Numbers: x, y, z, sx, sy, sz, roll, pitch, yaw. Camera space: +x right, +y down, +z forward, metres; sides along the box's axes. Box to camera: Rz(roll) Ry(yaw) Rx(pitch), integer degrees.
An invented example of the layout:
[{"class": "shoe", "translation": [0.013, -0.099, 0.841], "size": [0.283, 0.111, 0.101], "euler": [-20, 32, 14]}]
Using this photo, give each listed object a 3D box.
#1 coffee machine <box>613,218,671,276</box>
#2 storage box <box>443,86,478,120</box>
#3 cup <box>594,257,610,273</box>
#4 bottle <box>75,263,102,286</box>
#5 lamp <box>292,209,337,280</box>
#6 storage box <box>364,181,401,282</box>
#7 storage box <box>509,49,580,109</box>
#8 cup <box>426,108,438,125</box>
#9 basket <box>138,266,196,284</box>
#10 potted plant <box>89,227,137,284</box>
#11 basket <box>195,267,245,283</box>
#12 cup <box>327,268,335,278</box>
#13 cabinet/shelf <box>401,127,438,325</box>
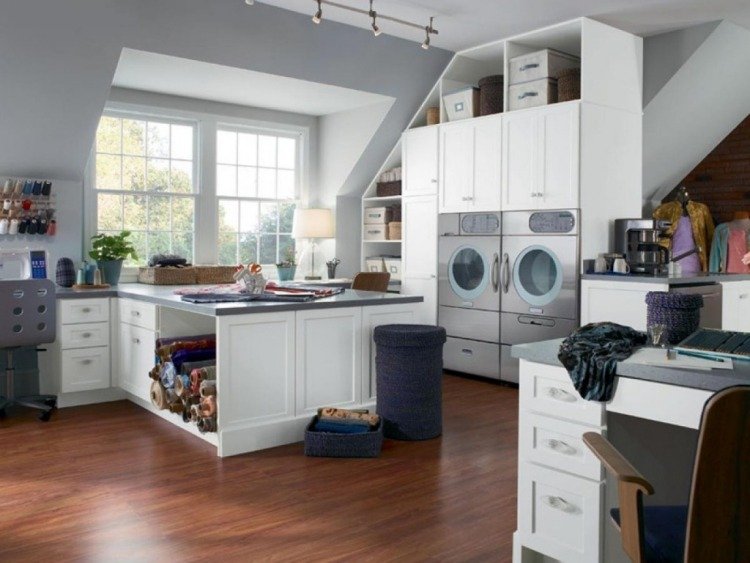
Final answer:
[{"class": "coffee machine", "translation": [2.218, -0.298, 4.500], "size": [0.462, 0.457, 0.316], "euler": [3, 5, 37]}, {"class": "storage box", "translation": [0.869, -1.795, 5.454], "size": [0.240, 0.295, 0.445], "euler": [-12, 13, -40]}, {"class": "cup", "translation": [1.907, -0.134, 4.489], "size": [0.116, 0.126, 0.126], "euler": [0, 4, 0]}, {"class": "bottle", "translation": [-2.581, -0.054, 4.815], "size": [0.189, 0.228, 0.238], "euler": [0, -1, 38]}, {"class": "lamp", "translation": [-0.711, -0.450, 6.280], "size": [0.472, 0.822, 0.638], "euler": [0, 4, -5]}, {"class": "storage box", "translation": [0.085, -0.620, 6.411], "size": [0.474, 1.204, 0.812], "euler": [0, 4, -4]}, {"class": "storage box", "translation": [1.563, -1.793, 5.132], "size": [0.590, 0.583, 0.608], "euler": [-3, 4, -40]}, {"class": "cup", "translation": [0.623, -1.782, 5.782], "size": [0.108, 0.209, 0.153], "euler": [0, 4, -5]}, {"class": "basket", "translation": [-2.088, -0.055, 5.200], "size": [0.618, 0.170, 0.281], "euler": [1, 4, 17]}, {"class": "potted plant", "translation": [-2.470, -0.216, 4.992], "size": [0.349, 0.500, 0.329], "euler": [-3, 5, -39]}, {"class": "basket", "translation": [-1.616, -0.066, 5.393], "size": [0.424, 0.174, 0.184], "euler": [-2, 5, -27]}, {"class": "cup", "translation": [-0.519, -0.084, 6.386], "size": [0.093, 0.103, 0.098], "euler": [1, 5, 0]}, {"class": "cabinet/shelf", "translation": [0.464, -0.603, 5.794], "size": [0.148, 2.082, 0.601], "euler": [-3, 5, -33]}]
